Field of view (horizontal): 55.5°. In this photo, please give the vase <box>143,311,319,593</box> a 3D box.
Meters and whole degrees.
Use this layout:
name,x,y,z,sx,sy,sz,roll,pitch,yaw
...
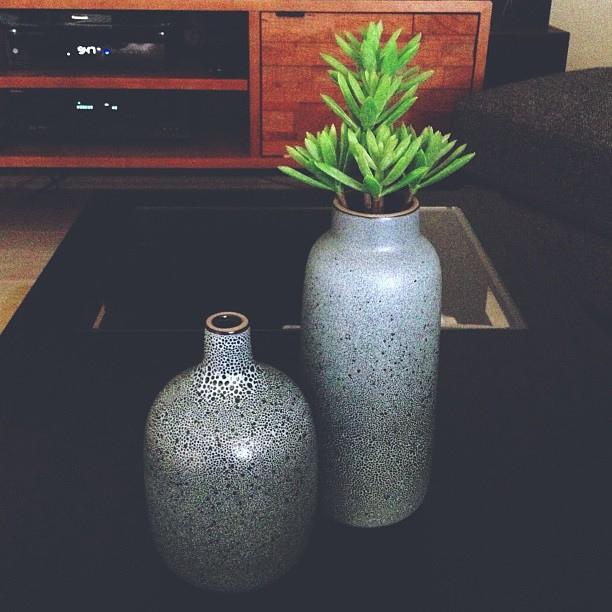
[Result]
name,x,y,z,sx,sy,sz,roll,pitch,yaw
vase,-0.064,0.105,0.429,0.130,0.185,0.130,0,-3,6

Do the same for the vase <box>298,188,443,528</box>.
name,x,y,z,sx,sy,sz,roll,pitch,yaw
vase,0.052,0.049,0.451,0.117,0.245,0.125,8,36,13
